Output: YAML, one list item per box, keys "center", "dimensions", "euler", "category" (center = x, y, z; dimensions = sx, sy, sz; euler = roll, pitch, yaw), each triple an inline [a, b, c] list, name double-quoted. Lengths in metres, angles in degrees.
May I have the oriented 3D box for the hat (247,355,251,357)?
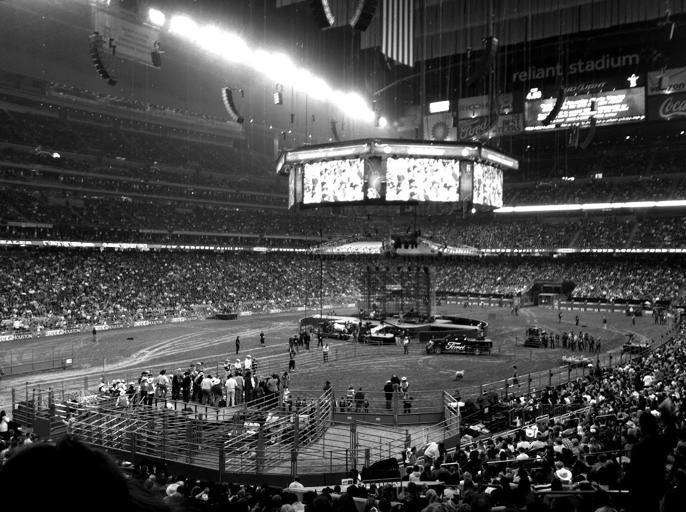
- center: [-8.251, 8.752, 90.354]
  dimensions: [0.394, 0.120, 0.462]
  euler: [0, 0, 2]
  category: "hat"
